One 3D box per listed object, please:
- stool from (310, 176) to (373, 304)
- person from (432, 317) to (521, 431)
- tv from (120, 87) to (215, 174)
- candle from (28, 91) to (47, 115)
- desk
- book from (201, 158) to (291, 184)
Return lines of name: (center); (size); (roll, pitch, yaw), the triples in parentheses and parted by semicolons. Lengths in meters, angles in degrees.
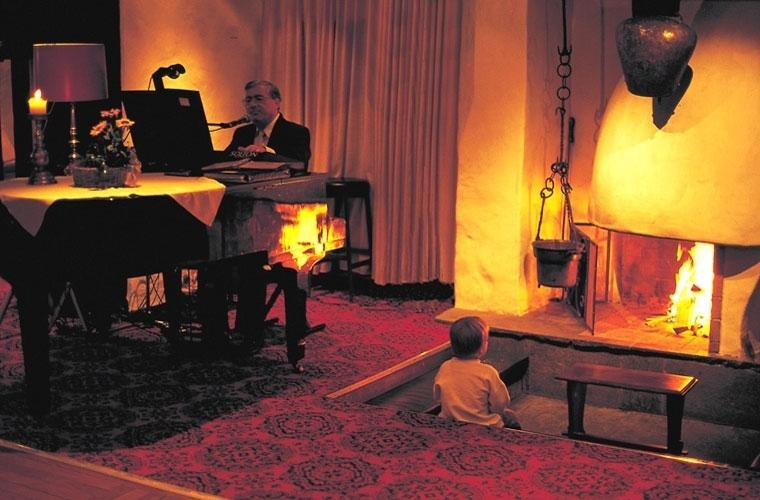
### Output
stool: (-0.337, -0.143, 6.762); (0.514, 1.104, 0.611); (2, 11, 23)
person: (0.617, 0.801, 4.437); (0.514, 0.888, 0.589); (4, 14, 16)
tv: (-1.385, -0.781, 4.666); (0.533, 0.531, 0.165); (-5, 10, -18)
candle: (-2.182, -0.946, 4.547); (0.088, 0.162, 0.134); (-5, 11, -20)
desk: (1.480, 0.990, 4.347); (0.363, 0.447, 0.840); (1, -1, -44)
book: (-0.878, -0.526, 4.657); (0.571, 0.125, 0.564); (-3, 10, -8)
